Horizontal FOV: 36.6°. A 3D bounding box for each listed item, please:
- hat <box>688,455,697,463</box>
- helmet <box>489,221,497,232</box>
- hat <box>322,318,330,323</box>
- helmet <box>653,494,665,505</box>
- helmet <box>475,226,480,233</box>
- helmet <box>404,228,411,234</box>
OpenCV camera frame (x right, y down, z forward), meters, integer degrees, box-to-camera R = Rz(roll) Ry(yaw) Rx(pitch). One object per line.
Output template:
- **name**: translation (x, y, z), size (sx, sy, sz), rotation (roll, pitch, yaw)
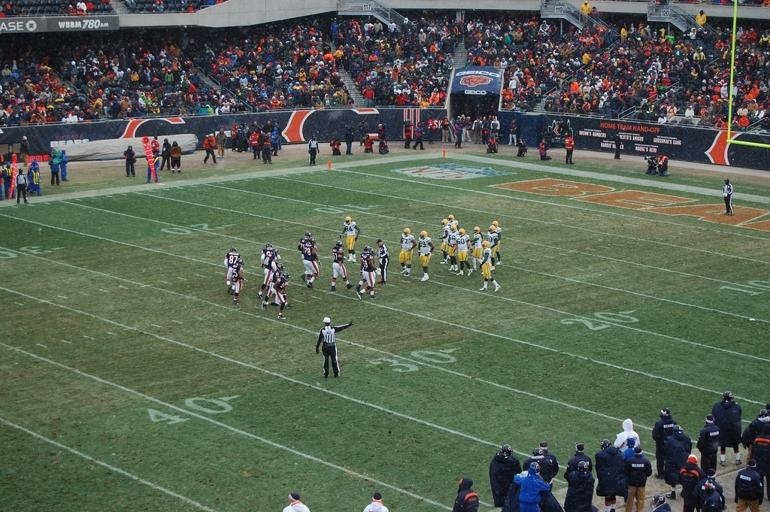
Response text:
- **hat**: translation (7.204, 4.799, 27.576), size (0.272, 0.176, 0.339), rotation (2, -16, 8)
- **helmet**: translation (3.735, -1.045, 40.102), size (0.379, 0.348, 0.404), rotation (1, 12, 2)
- **hat**: translation (-1.634, 1.820, 32.786), size (0.250, 0.083, 0.301), rotation (-1, 3, -8)
- **helmet**: translation (6.153, 5.530, 26.468), size (0.261, 0.232, 0.263), rotation (-1, 35, 5)
- **helmet**: translation (3.247, -0.951, 40.430), size (0.297, 0.196, 0.203), rotation (3, 6, -13)
- **helmet**: translation (0.739, -0.889, 39.949), size (0.197, 0.172, 0.238), rotation (-13, 34, -27)
